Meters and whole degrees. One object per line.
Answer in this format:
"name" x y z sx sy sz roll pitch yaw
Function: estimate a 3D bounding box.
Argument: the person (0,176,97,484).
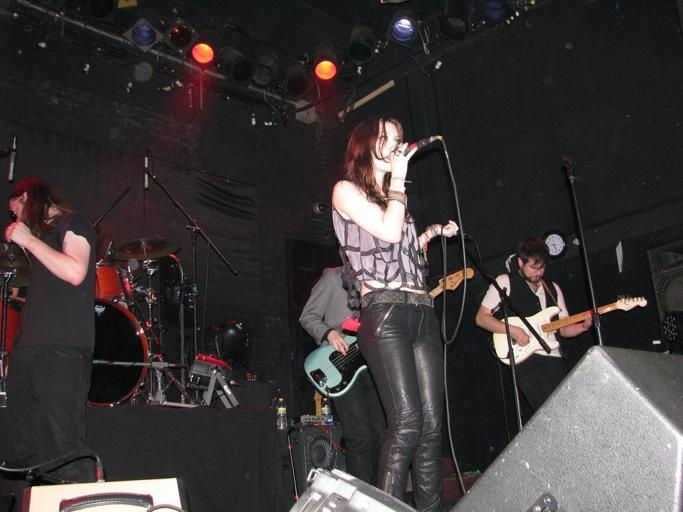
"person" -1.463 0.282 2.747 0.460 1.458 0.377 7 -14 -25

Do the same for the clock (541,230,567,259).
"clock" 1.896 -0.100 4.849 0.054 0.244 0.222 6 -8 -39

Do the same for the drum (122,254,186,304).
"drum" -1.730 0.226 5.189 0.451 0.504 0.200 14 2 -6

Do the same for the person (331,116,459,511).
"person" 0.210 0.191 2.582 0.480 1.839 0.564 -10 -17 41

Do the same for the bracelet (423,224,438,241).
"bracelet" 0.449 -0.119 2.766 0.038 0.066 0.092 37 13 7

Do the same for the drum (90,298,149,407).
"drum" -1.598 0.682 3.957 0.401 0.740 0.181 7 -14 -25
